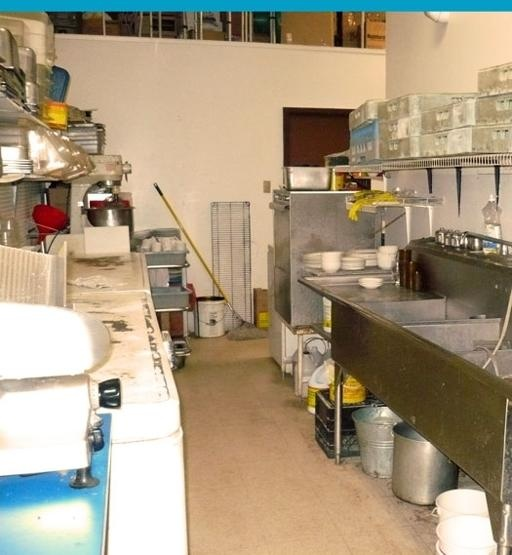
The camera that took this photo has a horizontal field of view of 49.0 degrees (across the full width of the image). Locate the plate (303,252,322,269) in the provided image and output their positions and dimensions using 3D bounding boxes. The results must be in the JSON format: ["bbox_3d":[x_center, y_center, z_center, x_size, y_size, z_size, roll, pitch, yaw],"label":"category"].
[{"bbox_3d":[0.390,-0.115,3.813,0.068,0.105,0.192,-8,10,-34],"label":"plate"}]

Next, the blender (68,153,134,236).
[{"bbox_3d":[-1.300,-0.667,4.690,0.513,0.777,0.653,-1,5,-10],"label":"blender"}]

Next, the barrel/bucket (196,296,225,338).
[{"bbox_3d":[-0.505,0.428,5.966,0.344,0.359,0.362,-2,3,0],"label":"barrel/bucket"}]

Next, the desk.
[{"bbox_3d":[0.313,0.565,4.245,0.371,0.489,0.476,2,11,-7],"label":"desk"}]

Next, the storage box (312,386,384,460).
[{"bbox_3d":[0.526,0.814,3.229,0.284,0.358,0.334,-1,1,-12],"label":"storage box"}]

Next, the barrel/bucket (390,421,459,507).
[{"bbox_3d":[0.711,0.843,2.615,0.295,0.350,0.317,3,10,0],"label":"barrel/bucket"}]

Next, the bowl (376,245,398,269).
[{"bbox_3d":[0.865,-0.129,3.705,0.131,0.162,0.147,1,9,18],"label":"bowl"}]

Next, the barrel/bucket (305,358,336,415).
[{"bbox_3d":[0.416,0.698,3.625,0.208,0.324,0.230,2,11,-6],"label":"barrel/bucket"}]

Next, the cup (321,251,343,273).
[{"bbox_3d":[0.484,-0.105,3.676,0.141,0.141,0.134,0,3,0],"label":"cup"}]

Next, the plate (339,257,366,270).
[{"bbox_3d":[0.641,-0.092,3.725,0.154,0.087,0.086,0,9,8],"label":"plate"}]

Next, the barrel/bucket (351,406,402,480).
[{"bbox_3d":[0.597,0.840,2.893,0.221,0.327,0.224,4,12,-1],"label":"barrel/bucket"}]

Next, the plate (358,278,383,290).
[{"bbox_3d":[0.688,0.026,3.388,0.132,0.062,0.220,0,8,7],"label":"plate"}]

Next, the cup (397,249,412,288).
[{"bbox_3d":[0.905,-0.056,3.388,0.078,0.241,0.060,5,18,29],"label":"cup"}]
